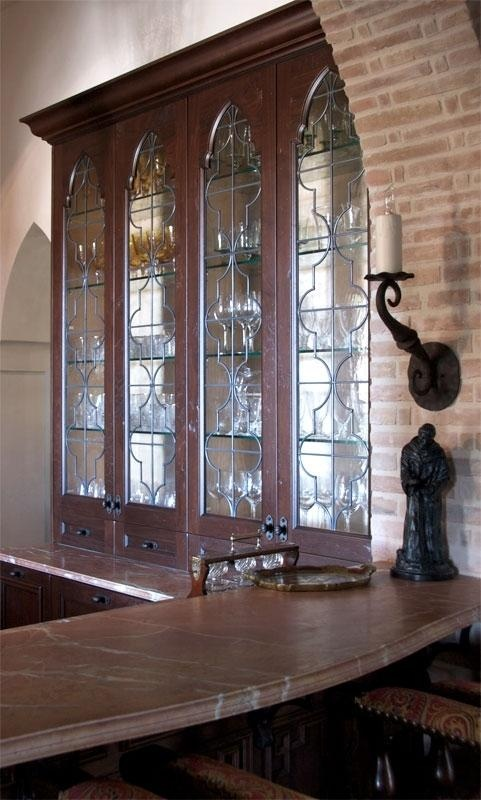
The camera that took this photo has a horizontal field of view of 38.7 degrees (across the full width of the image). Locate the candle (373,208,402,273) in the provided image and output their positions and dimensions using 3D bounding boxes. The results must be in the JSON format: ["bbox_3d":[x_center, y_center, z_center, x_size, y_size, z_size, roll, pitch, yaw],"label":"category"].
[{"bbox_3d":[0.332,-0.359,1.552,0.056,0.150,0.041,-1,-2,12],"label":"candle"}]
